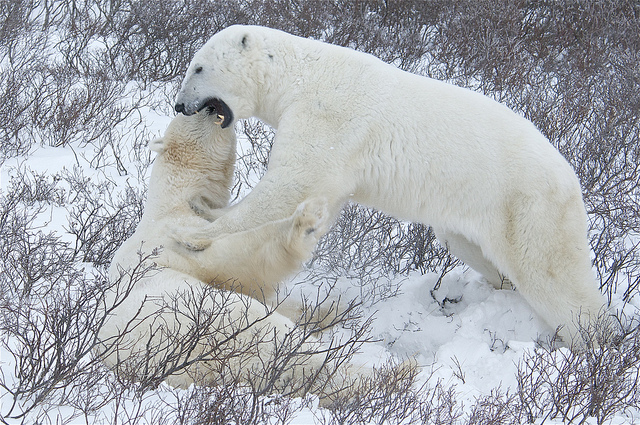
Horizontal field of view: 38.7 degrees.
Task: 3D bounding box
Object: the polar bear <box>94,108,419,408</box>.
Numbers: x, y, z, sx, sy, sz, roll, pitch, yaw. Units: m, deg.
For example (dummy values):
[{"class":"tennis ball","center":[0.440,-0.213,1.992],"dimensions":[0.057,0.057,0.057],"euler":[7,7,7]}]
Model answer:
[{"class":"polar bear","center":[-1.025,0.681,10.135],"dimensions":[3.206,2.655,1.987],"euler":[27,25,20]}]
